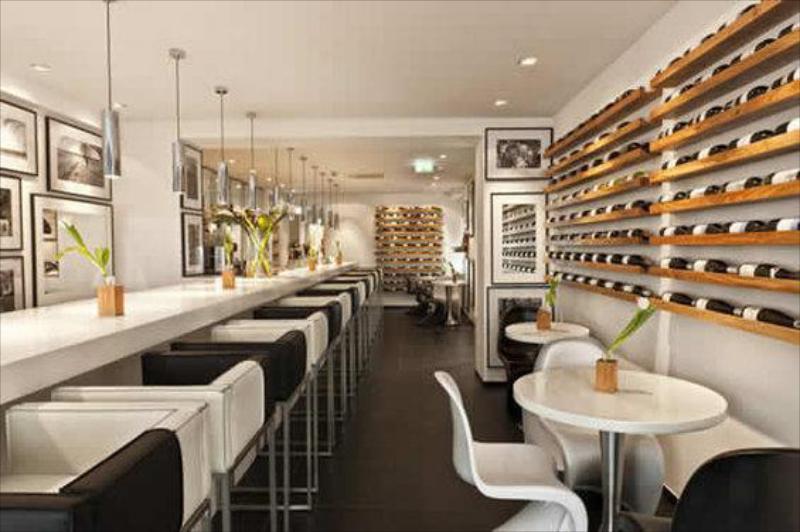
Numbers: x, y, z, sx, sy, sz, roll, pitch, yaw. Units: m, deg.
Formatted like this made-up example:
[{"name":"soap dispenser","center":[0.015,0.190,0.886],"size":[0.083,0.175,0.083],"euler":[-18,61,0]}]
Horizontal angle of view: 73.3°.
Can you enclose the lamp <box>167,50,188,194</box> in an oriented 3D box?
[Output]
[{"name":"lamp","center":[-1.906,-1.237,4.586],"size":[0.161,1.200,0.179],"euler":[-1,-1,-21]}]

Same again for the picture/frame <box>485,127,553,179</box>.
[{"name":"picture/frame","center":[1.363,-1.306,6.147],"size":[0.643,0.457,0.027],"euler":[0,3,-1]}]

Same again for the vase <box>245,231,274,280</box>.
[{"name":"vase","center":[-1.660,-0.129,6.202],"size":[0.345,0.525,0.334],"euler":[-2,1,-19]}]

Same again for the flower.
[{"name":"flower","center":[-1.579,-0.303,6.026],"size":[0.752,0.625,0.898],"euler":[3,-3,15]}]

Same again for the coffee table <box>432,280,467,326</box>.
[{"name":"coffee table","center":[0.902,0.675,10.286],"size":[0.633,0.688,0.610],"euler":[3,-4,1]}]
